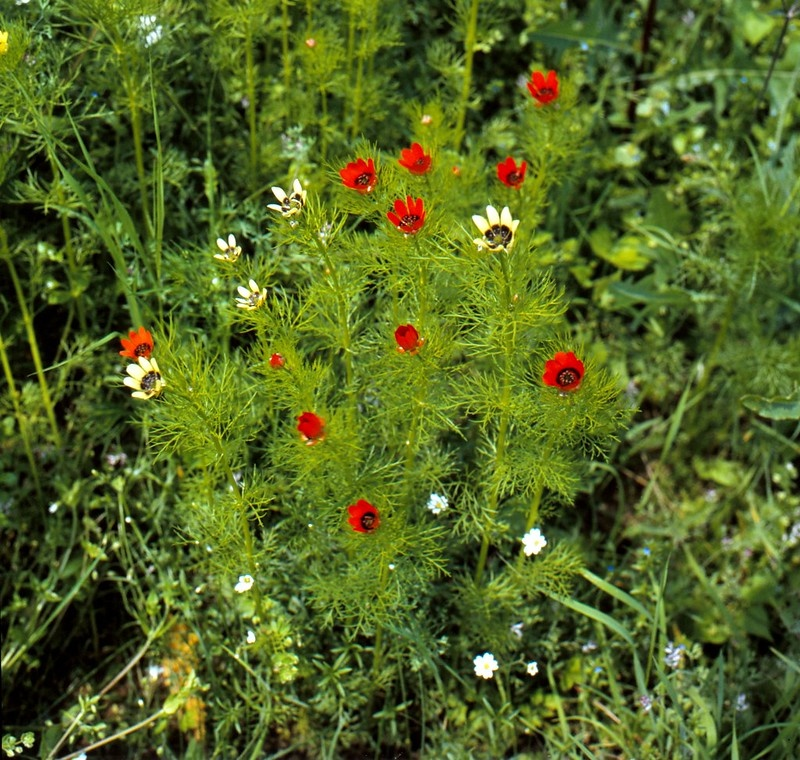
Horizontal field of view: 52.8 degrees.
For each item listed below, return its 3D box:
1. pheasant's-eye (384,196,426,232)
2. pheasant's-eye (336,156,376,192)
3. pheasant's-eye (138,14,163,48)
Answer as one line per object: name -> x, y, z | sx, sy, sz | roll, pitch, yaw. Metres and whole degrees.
pheasant's-eye -> 0.008, -0.285, 1.435 | 0.056, 0.071, 0.032 | -15, 7, 3
pheasant's-eye -> -0.082, -0.378, 1.491 | 0.065, 0.079, 0.075 | -3, 50, -7
pheasant's-eye -> -0.581, -0.818, 1.890 | 0.062, 0.027, 0.081 | 10, 72, 20
